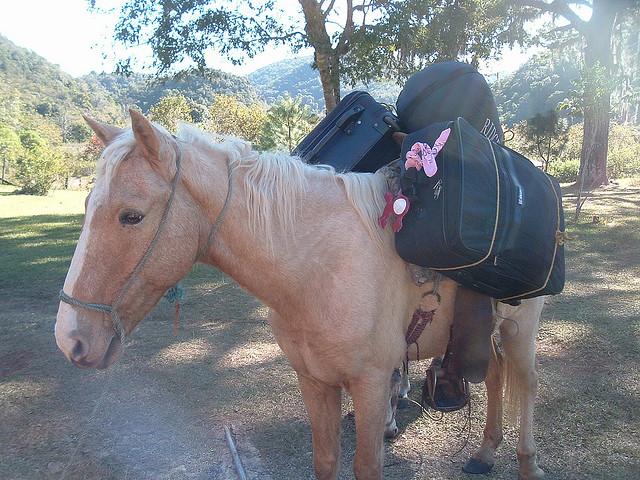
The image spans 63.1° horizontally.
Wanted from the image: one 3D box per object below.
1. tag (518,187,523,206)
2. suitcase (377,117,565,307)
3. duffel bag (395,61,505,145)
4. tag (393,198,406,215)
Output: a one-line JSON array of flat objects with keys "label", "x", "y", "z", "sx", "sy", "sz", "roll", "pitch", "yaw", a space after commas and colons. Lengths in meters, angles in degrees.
[{"label": "tag", "x": 1.417, "y": -0.308, "z": 3.690, "sx": 0.015, "sy": 0.156, "sz": 0.108, "roll": -2, "pitch": -10, "yaw": 28}, {"label": "suitcase", "x": 1.180, "y": -0.173, "z": 3.719, "sx": 1.393, "sy": 1.184, "sz": 0.452, "roll": 18, "pitch": -16, "yaw": -32}, {"label": "duffel bag", "x": 1.059, "y": -1.094, "z": 4.325, "sx": 0.374, "sy": 0.707, "sz": 0.828, "roll": 0, "pitch": 17, "yaw": -4}, {"label": "tag", "x": 0.565, "y": -0.242, "z": 3.690, "sx": 0.083, "sy": 0.107, "sz": 0.014, "roll": 15, "pitch": -1, "yaw": 34}]
